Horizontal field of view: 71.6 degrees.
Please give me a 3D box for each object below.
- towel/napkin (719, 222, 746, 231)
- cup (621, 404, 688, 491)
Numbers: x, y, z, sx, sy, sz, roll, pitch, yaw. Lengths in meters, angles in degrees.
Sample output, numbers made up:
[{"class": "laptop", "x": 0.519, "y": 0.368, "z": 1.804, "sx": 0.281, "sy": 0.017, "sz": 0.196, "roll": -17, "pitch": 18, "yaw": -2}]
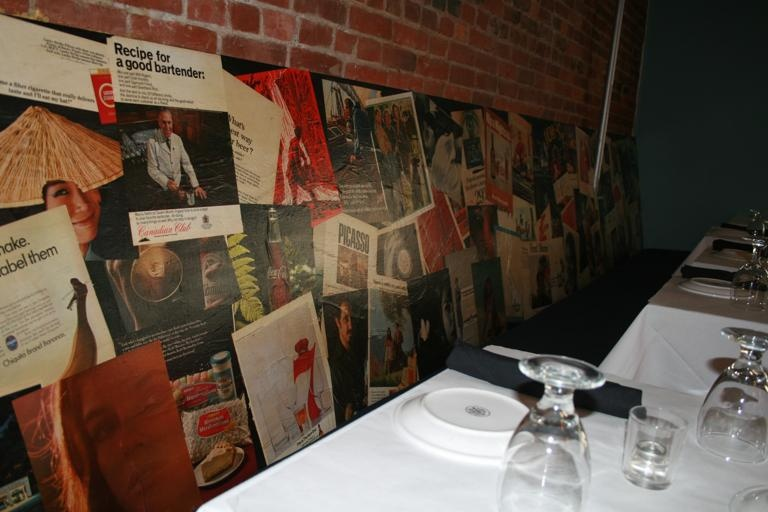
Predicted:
[{"class": "towel/napkin", "x": 2.946, "y": -0.245, "z": 4.511, "sx": 0.226, "sy": 0.014, "sz": 0.089, "roll": 8, "pitch": 45, "yaw": 45}, {"class": "cup", "x": 0.712, "y": 0.537, "z": 1.530, "sx": 0.196, "sy": 0.223, "sz": 0.165, "roll": 2, "pitch": 3, "yaw": 7}]
